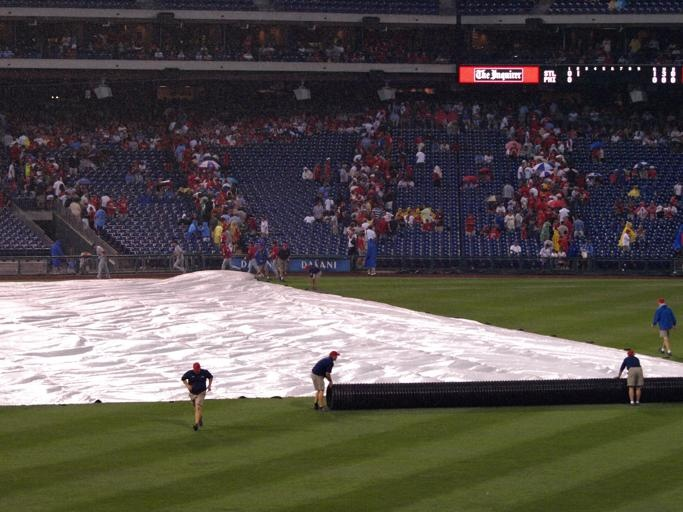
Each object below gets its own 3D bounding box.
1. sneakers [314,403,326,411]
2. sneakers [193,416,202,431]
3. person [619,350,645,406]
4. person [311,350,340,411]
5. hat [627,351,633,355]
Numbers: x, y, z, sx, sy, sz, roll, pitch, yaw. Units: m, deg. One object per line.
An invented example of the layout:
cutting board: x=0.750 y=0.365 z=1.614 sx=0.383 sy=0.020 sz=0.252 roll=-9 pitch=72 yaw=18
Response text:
sneakers: x=-0.963 y=6.693 z=86.686 sx=0.580 sy=0.258 sz=0.218 roll=1 pitch=10 yaw=0
sneakers: x=-6.330 y=7.358 z=84.852 sx=0.224 sy=0.298 sz=0.685 roll=3 pitch=18 yaw=4
person: x=13.065 y=5.360 z=87.005 sx=1.076 sy=2.471 sz=1.002 roll=1 pitch=5 yaw=8
person: x=-0.795 y=5.450 z=86.567 sx=1.104 sy=2.696 sz=1.511 roll=0 pitch=5 yaw=-3
hat: x=12.960 y=4.260 z=86.682 sx=0.198 sy=0.054 sz=0.203 roll=-1 pitch=12 yaw=0
